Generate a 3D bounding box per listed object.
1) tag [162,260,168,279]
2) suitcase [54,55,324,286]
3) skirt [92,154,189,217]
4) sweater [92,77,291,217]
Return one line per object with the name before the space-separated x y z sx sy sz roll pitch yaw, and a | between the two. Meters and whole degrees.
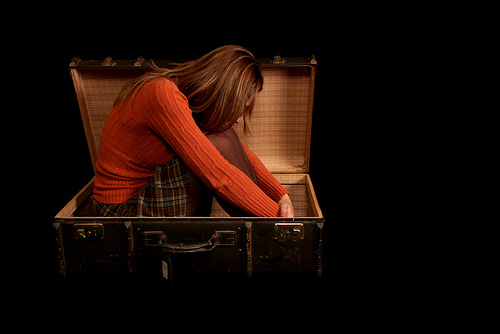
tag | -0.453 0.574 2.534 0.039 0.097 0.007 0 2 40
suitcase | -0.302 0.005 2.818 1.476 1.207 0.841 0 16 9
skirt | -0.564 0.111 2.527 0.426 0.140 0.309 1 28 -2
sweater | -0.285 -0.138 2.646 0.961 0.627 0.642 3 13 3
